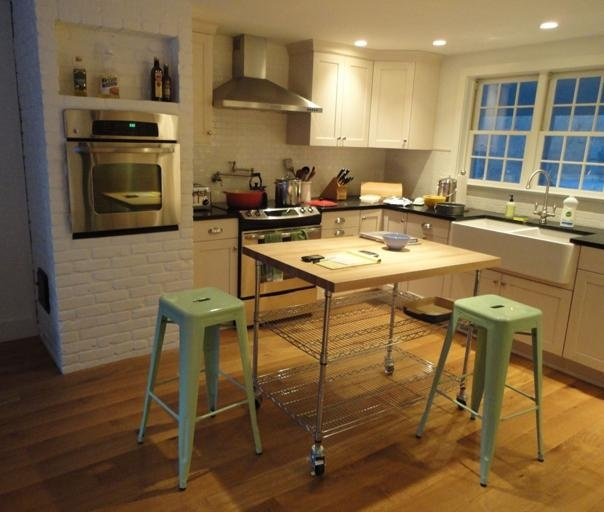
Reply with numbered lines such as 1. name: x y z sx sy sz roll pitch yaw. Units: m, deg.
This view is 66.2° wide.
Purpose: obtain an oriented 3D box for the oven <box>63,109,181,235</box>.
1. oven: -1.450 -0.690 3.556 0.661 0.883 0.860 21 24 35

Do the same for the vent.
1. vent: -0.429 -1.753 4.484 1.141 0.647 0.732 -9 21 -35

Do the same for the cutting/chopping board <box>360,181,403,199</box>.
1. cutting/chopping board: 0.946 -0.772 5.423 0.490 0.162 0.455 -1 15 -5

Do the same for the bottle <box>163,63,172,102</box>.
1. bottle: -1.023 -1.317 3.531 0.060 0.267 0.159 -2 17 -6

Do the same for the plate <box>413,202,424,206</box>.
1. plate: 1.289 -0.573 5.115 0.111 0.018 0.111 3 15 10

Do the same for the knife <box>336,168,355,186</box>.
1. knife: 0.518 -0.934 5.434 0.157 0.200 0.553 4 15 12

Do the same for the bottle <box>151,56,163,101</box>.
1. bottle: -1.087 -1.317 3.463 0.101 0.299 0.081 -4 17 -14

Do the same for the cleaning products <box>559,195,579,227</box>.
1. cleaning products: 2.322 -0.392 4.028 0.102 0.242 0.225 9 18 26

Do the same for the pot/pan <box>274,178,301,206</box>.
1. pot/pan: -0.119 -0.660 4.652 0.284 0.256 0.295 -9 20 -26

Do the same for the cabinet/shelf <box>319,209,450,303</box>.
1. cabinet/shelf: 0.799 0.083 4.801 1.069 0.730 1.025 -10 20 -29

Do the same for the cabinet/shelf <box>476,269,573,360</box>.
1. cabinet/shelf: 1.592 0.402 3.224 0.367 0.582 0.632 -8 18 -28

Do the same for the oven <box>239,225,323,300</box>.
1. oven: -0.222 -0.035 4.522 0.940 0.823 0.602 -6 13 -26

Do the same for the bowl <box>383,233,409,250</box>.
1. bowl: 0.622 -0.104 3.040 0.143 0.072 0.134 0 16 0

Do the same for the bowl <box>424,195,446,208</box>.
1. bowl: 1.431 -0.604 4.959 0.165 0.088 0.155 -1 17 0

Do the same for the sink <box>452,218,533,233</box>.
1. sink: 1.865 -0.298 4.401 0.339 0.074 0.299 -12 20 -30

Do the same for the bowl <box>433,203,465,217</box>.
1. bowl: 1.449 -0.460 4.560 0.292 0.097 0.371 -7 16 -25

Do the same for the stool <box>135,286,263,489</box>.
1. stool: -0.578 0.681 2.613 0.668 0.892 0.663 10 14 35

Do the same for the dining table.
1. dining table: 0.423 0.508 3.093 1.377 1.087 0.960 -6 15 -35

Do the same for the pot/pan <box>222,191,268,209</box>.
1. pot/pan: -0.508 -0.518 4.313 0.273 0.092 0.207 -1 16 -11

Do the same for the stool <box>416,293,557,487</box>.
1. stool: 1.165 0.857 2.912 0.722 1.149 0.687 -3 20 -33

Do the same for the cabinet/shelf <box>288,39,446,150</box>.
1. cabinet/shelf: 0.598 -1.715 5.160 2.096 1.286 1.027 -9 21 -30
